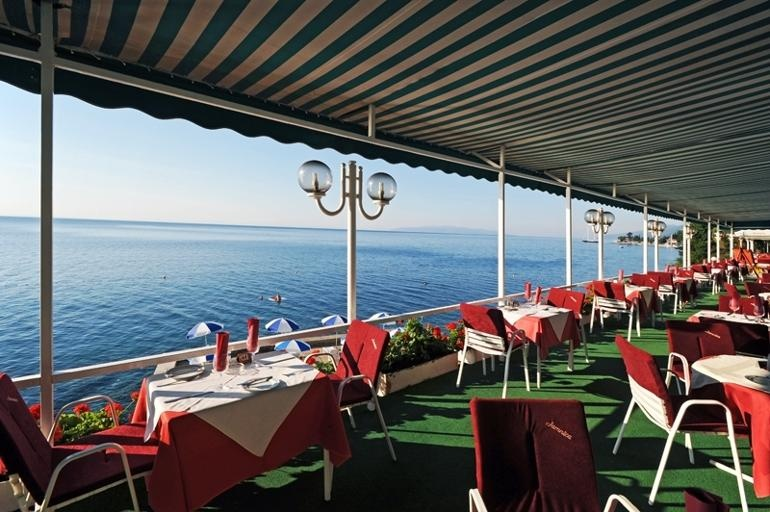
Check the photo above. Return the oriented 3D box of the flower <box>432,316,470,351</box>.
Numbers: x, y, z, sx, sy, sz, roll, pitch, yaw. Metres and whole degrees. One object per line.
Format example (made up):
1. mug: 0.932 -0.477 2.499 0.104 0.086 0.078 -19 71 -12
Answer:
1. flower: 0.898 1.107 7.098 0.473 0.247 0.514 2 3 32

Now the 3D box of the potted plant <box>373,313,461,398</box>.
1. potted plant: 0.464 1.244 6.652 1.105 0.364 0.815 -4 6 -36

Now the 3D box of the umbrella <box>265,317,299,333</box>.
1. umbrella: -1.770 1.224 8.691 0.498 0.385 0.469 3 3 2

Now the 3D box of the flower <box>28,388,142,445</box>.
1. flower: -2.634 1.567 4.675 0.900 0.343 0.654 -5 9 -34
